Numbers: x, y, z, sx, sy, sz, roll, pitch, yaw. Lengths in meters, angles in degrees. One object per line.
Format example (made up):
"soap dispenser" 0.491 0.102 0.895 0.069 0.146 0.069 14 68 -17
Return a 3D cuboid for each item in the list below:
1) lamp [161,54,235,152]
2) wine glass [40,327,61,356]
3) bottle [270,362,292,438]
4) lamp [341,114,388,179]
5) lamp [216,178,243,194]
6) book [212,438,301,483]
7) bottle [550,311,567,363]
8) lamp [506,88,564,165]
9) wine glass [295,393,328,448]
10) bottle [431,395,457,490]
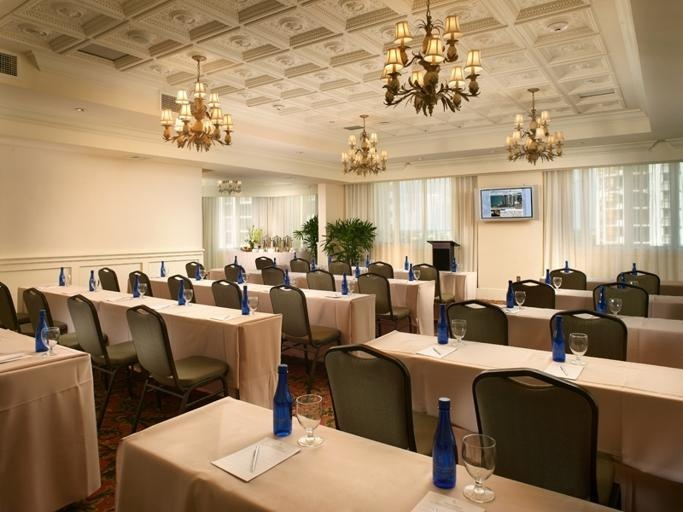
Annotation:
"lamp" -1.672 -1.801 5.508 0.807 1.068 0.768 0 4 -19
"wine glass" -1.970 0.566 3.191 0.096 0.181 0.294 -4 3 -33
"bottle" -0.305 0.731 2.434 0.093 0.371 0.187 -2 3 0
"lamp" 0.404 -1.918 8.225 0.836 1.137 0.831 -6 8 -33
"lamp" -3.268 -2.026 13.855 0.639 0.441 0.610 -3 8 -34
"book" -0.394 0.958 2.227 0.380 0.073 0.209 -4 3 -40
"bottle" 1.502 0.564 3.253 0.084 0.292 0.265 -1 3 24
"lamp" 3.077 -2.107 7.487 0.934 1.336 0.971 3 6 25
"wine glass" -0.150 0.824 2.379 0.203 0.349 0.222 0 -7 0
"bottle" 0.461 0.815 2.111 0.110 0.398 0.159 -1 3 12
